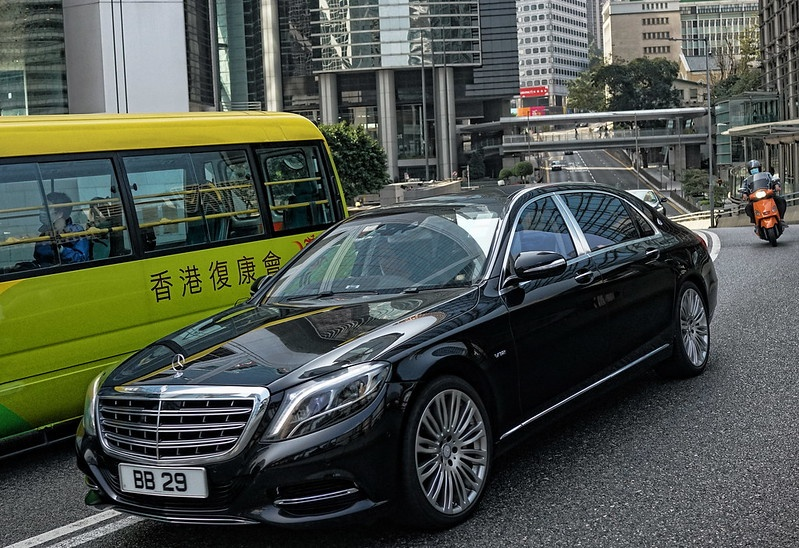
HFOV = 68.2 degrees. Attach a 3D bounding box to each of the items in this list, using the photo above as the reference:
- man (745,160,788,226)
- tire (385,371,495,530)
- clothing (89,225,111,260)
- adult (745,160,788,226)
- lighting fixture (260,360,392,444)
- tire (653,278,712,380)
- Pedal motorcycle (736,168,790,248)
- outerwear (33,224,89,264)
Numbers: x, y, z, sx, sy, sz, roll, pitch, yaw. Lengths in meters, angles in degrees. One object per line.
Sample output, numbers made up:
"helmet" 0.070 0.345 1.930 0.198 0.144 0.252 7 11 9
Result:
"man" 10.551 -2.233 17.131 1.021 1.444 2.556 -16 2 33
"tire" 0.214 1.039 3.418 0.286 0.929 0.921 -6 -1 42
"clothing" -3.013 -0.316 5.987 0.077 0.288 0.301 2 0 30
"adult" 10.561 -2.288 17.145 0.927 1.439 2.494 -16 4 34
"lighting fixture" -0.351 0.651 3.183 0.812 0.255 0.268 -23 6 -4
"tire" 2.684 0.531 5.635 0.314 0.922 0.915 -7 1 38
"Pedal motorcycle" 10.329 -2.016 16.724 0.991 2.410 1.699 -1 7 32
"outerwear" -3.233 -0.303 5.784 0.577 0.332 0.535 -2 15 -30
